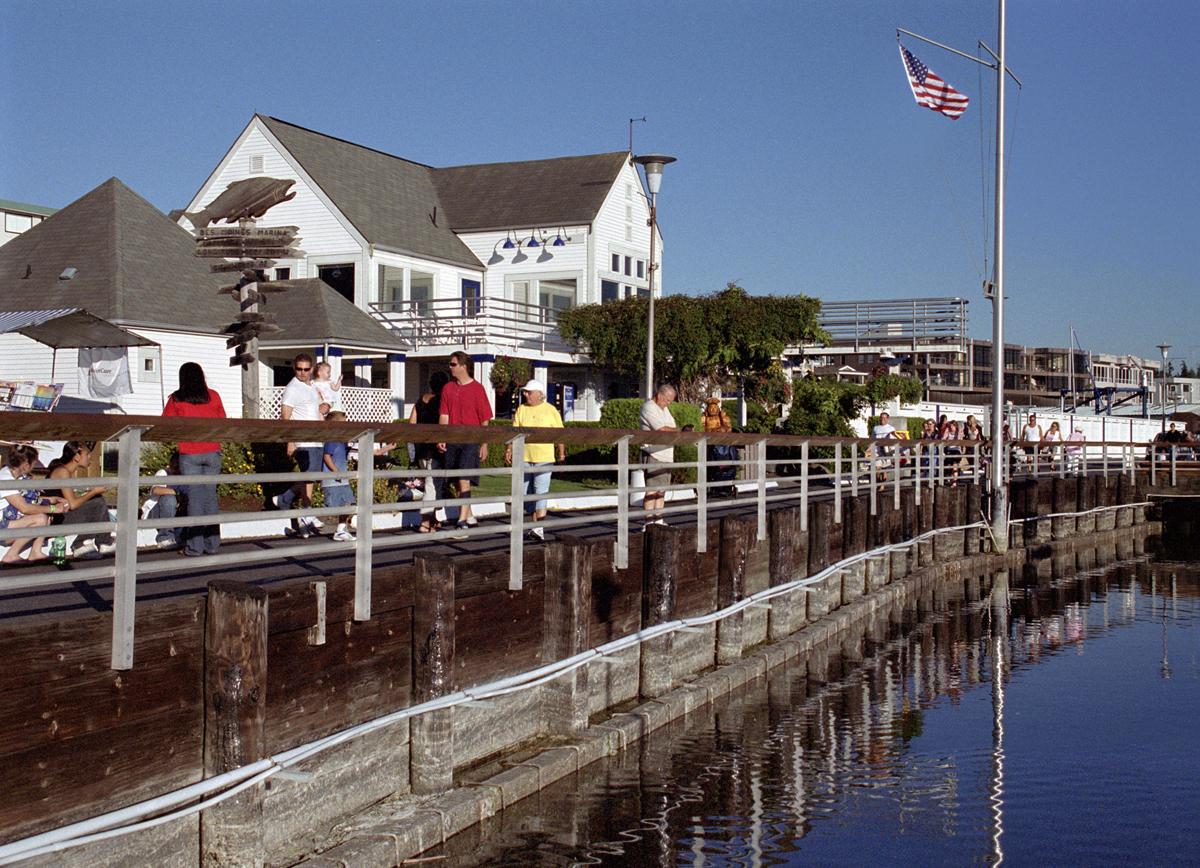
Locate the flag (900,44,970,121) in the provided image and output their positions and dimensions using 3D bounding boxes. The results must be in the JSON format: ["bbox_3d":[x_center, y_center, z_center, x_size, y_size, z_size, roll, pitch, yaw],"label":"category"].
[{"bbox_3d":[6.885,-7.331,29.052,1.303,1.077,0.988,7,4,20],"label":"flag"}]
